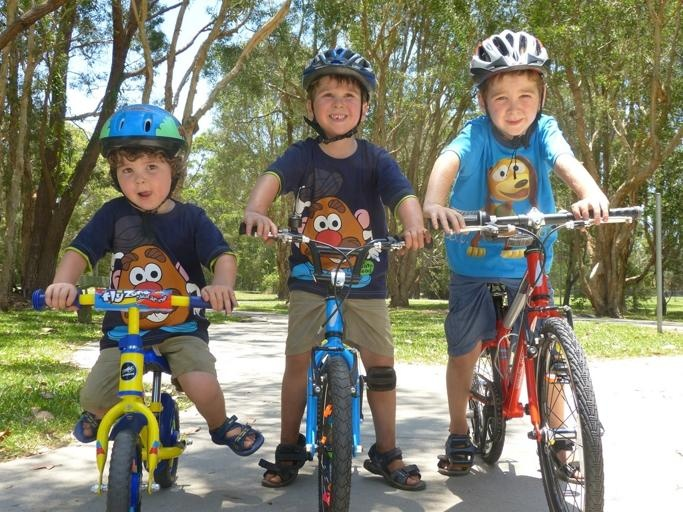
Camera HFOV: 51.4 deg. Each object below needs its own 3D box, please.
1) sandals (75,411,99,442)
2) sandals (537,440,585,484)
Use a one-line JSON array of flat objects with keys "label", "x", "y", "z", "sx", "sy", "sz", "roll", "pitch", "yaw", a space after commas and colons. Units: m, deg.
[{"label": "sandals", "x": -1.597, "y": 1.105, "z": 4.469, "sx": 0.133, "sy": 0.199, "sz": 0.068, "roll": 9, "pitch": -22, "yaw": -10}, {"label": "sandals", "x": 1.325, "y": 1.229, "z": 4.230, "sx": 0.213, "sy": 0.091, "sz": 0.171, "roll": 14, "pitch": -27, "yaw": 32}]
